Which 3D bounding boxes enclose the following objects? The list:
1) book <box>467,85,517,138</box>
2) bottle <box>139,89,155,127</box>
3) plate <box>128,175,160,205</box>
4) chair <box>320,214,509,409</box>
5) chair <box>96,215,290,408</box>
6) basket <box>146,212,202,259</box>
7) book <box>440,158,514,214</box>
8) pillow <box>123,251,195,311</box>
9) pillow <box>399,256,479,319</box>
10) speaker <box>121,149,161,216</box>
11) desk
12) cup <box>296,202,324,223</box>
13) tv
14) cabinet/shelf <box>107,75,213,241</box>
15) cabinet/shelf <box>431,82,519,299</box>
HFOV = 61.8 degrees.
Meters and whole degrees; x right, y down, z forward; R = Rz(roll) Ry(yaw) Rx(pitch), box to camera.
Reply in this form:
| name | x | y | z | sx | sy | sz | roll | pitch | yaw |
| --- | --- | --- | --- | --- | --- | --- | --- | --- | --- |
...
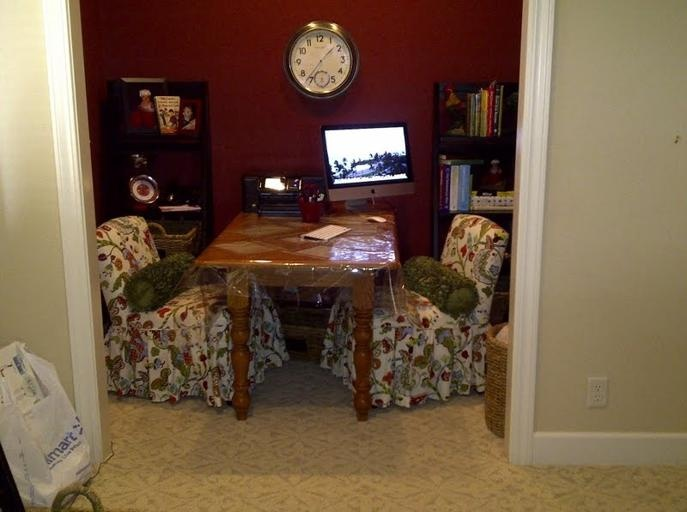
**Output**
| name | x | y | z | sx | sy | sz | roll | pitch | yaw |
| --- | --- | --- | --- | --- | --- | --- | --- | --- | --- |
| book | 1.047 | -1.022 | 4.104 | 0.120 | 0.441 | 0.311 | 5 | 12 | 5 |
| bottle | -1.419 | -1.068 | 4.151 | 0.102 | 0.268 | 0.043 | -6 | 15 | -18 |
| plate | -1.483 | -0.496 | 4.297 | 0.218 | 0.214 | 0.143 | -10 | 17 | -32 |
| chair | 0.402 | 0.246 | 3.504 | 0.943 | 0.982 | 0.809 | 2 | 18 | -3 |
| chair | -0.976 | 0.271 | 3.566 | 0.999 | 0.961 | 0.822 | 2 | 13 | 9 |
| basket | -1.199 | -0.161 | 4.129 | 0.255 | 0.181 | 0.334 | 4 | 18 | 4 |
| book | 0.963 | -0.532 | 4.212 | 0.522 | 0.395 | 0.238 | 1 | 15 | 8 |
| pillow | -1.063 | 0.163 | 3.329 | 0.398 | 0.285 | 0.182 | -8 | 16 | -23 |
| pillow | 0.640 | 0.215 | 3.452 | 0.275 | 0.219 | 0.478 | -25 | 11 | 2 |
| speaker | -1.510 | -0.567 | 4.306 | 0.320 | 0.486 | 0.144 | -2 | 10 | 11 |
| desk | -0.210 | 0.392 | 3.662 | 0.987 | 0.970 | 1.501 | 0 | 9 | 3 |
| cup | -0.218 | -0.294 | 3.810 | 0.129 | 0.107 | 0.126 | 0 | 10 | 0 |
| tv | 0.159 | -0.655 | 4.087 | 0.590 | 0.562 | 0.198 | -7 | 21 | -14 |
| cabinet/shelf | -1.434 | -0.619 | 4.502 | 0.687 | 1.392 | 0.394 | -4 | 10 | -21 |
| cabinet/shelf | 1.004 | -0.561 | 4.154 | 0.534 | 1.369 | 0.308 | -11 | -9 | 36 |
